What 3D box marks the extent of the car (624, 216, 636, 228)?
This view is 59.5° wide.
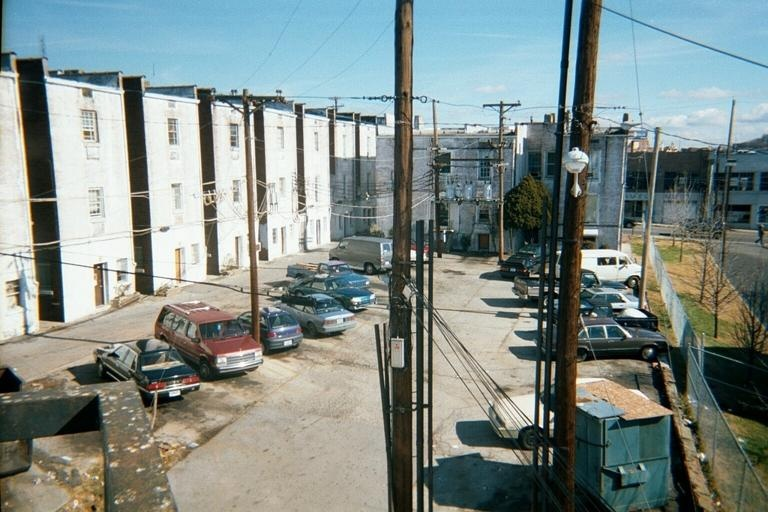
[{"bbox_3d":[27.084,-3.681,74.125,1.246,1.126,2.095,-2,1,-14],"label":"car"}]

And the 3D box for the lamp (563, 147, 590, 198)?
[{"bbox_3d":[5.316,-2.323,18.675,0.586,1.400,0.613,3,11,17],"label":"lamp"}]

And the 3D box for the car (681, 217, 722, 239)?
[{"bbox_3d":[23.807,-2.090,50.634,2.691,1.595,2.707,-2,5,-43],"label":"car"}]
